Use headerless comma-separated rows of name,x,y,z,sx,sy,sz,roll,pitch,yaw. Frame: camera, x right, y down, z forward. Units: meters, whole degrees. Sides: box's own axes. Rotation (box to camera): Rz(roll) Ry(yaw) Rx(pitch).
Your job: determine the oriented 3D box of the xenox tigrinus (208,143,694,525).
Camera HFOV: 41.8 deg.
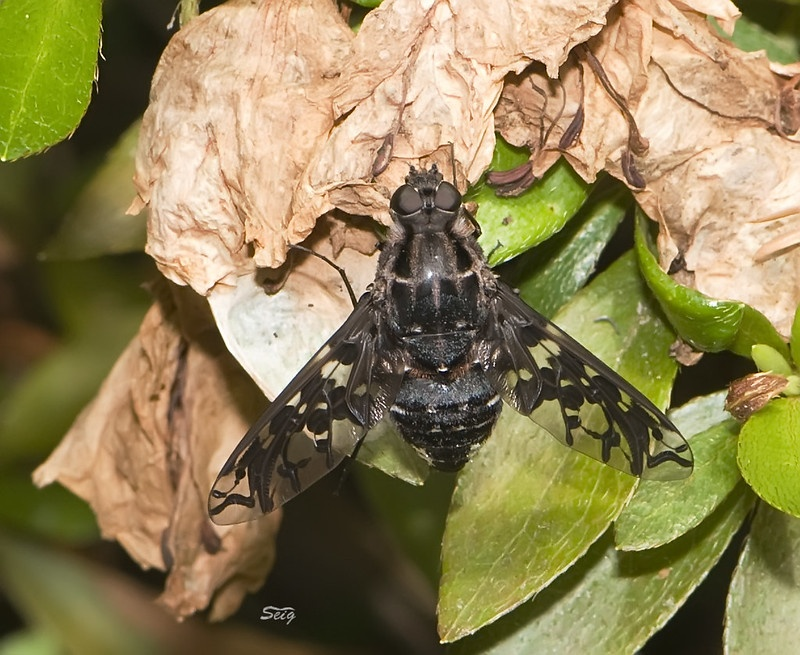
xenox tigrinus,0.083,-0.003,1.475,0.625,0.531,0.202,-2,1,2
